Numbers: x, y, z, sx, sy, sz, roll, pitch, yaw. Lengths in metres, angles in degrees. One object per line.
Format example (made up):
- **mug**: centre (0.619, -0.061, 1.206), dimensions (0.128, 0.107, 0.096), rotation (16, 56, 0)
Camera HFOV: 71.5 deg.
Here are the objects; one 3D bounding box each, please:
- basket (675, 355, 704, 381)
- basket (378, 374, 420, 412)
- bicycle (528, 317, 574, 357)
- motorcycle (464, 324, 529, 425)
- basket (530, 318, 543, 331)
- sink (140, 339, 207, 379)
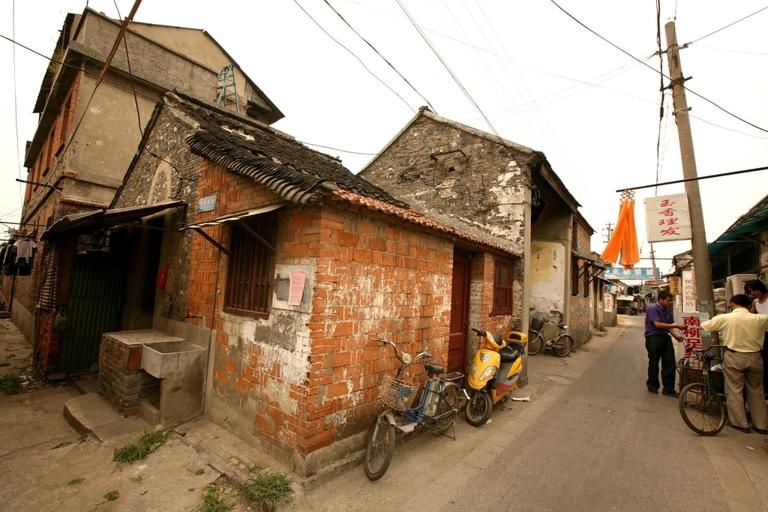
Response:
- **basket**: centre (6.971, 2.578, 12.166), dimensions (0.531, 0.844, 0.726), rotation (-2, -6, 30)
- **basket**: centre (0.297, 2.631, 10.186), dimensions (0.663, 0.465, 0.687), rotation (3, -17, 26)
- **bicycle**: centre (5.221, 2.656, 16.924), dimensions (1.630, 1.083, 0.865), rotation (2, -11, 27)
- **motorcycle**: centre (2.460, 2.594, 12.011), dimensions (0.998, 1.823, 2.071), rotation (5, 9, 26)
- **basket**: centre (4.761, 2.169, 16.665), dimensions (0.328, 0.371, 0.357), rotation (11, -9, -6)
- **sink**: centre (-4.428, 2.101, 10.962), dimensions (0.880, 0.552, 0.955), rotation (5, -5, 39)
